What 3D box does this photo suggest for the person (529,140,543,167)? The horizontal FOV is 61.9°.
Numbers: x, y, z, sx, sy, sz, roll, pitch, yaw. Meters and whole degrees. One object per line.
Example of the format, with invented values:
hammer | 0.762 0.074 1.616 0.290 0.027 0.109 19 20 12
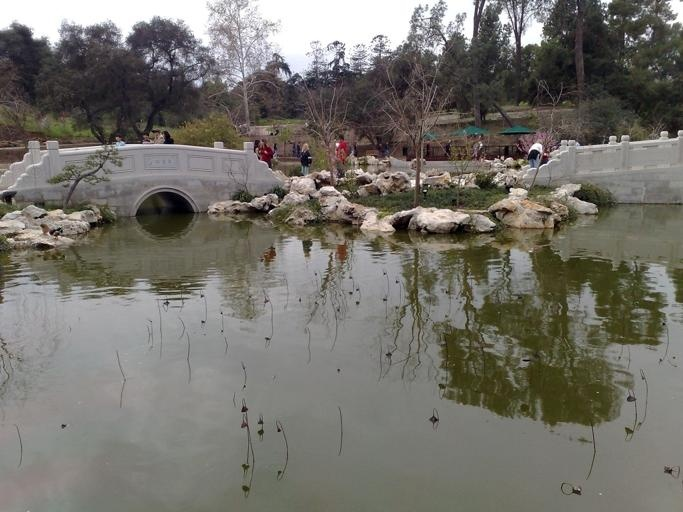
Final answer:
person | 7.633 -3.950 22.377 0.564 0.933 1.775 1 10 18
